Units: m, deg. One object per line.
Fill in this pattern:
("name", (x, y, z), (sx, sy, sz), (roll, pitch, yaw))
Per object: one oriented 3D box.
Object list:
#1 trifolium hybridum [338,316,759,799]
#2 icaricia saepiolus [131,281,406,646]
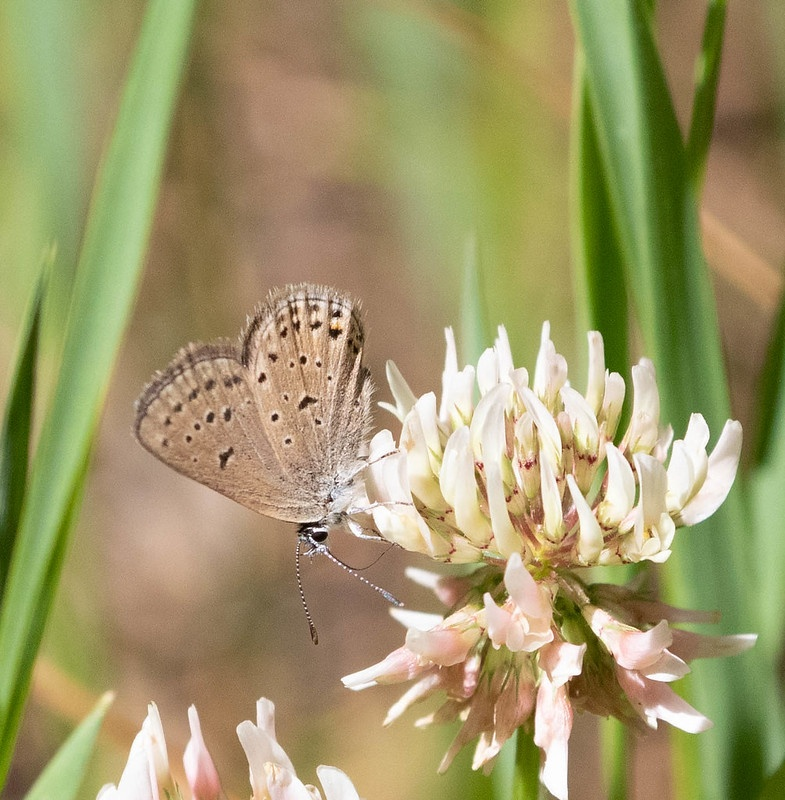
("trifolium hybridum", (0.107, 0.155, 0.754), (0.269, 0.357, 0.357), (0, 48, 3))
("icaricia saepiolus", (-0.058, 0.038, 0.793), (0.269, 0.225, 0.182), (15, 14, 39))
